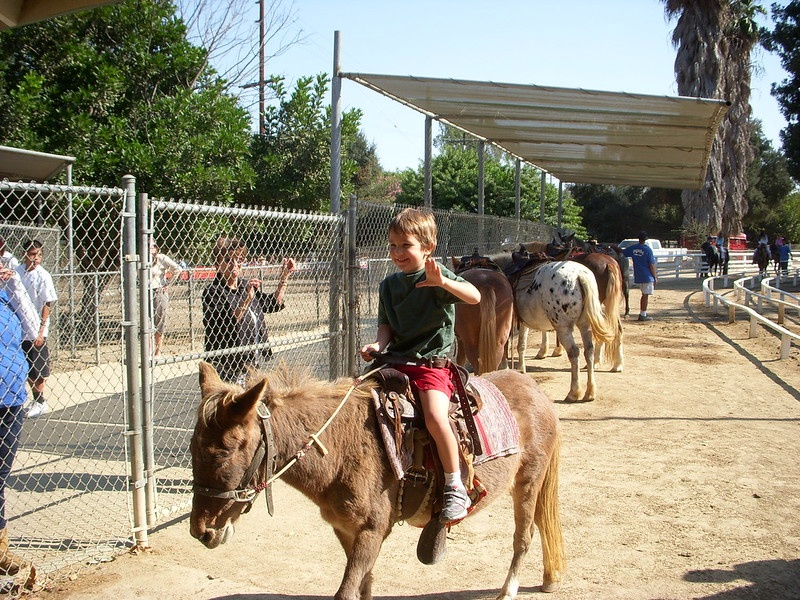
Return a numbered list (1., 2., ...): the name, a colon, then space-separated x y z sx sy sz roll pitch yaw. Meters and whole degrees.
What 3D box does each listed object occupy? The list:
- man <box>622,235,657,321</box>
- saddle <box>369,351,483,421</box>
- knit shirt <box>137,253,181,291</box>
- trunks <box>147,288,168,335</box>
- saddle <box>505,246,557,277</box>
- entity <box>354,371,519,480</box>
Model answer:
1. man: 6.571 -0.672 19.684 0.560 2.448 0.979 -6 5 -41
2. saddle: 0.233 0.644 5.808 0.644 0.257 0.523 10 -14 -13
3. knit shirt: -3.443 -0.416 10.311 0.617 0.368 0.943 -2 24 -8
4. trunks: -3.487 0.135 10.333 0.154 0.741 0.369 -12 -16 21
5. saddle: 2.188 -0.696 12.317 0.612 0.245 0.567 -18 -3 -37
6. entity: 0.398 0.888 6.088 1.446 0.804 0.927 1 15 -28
